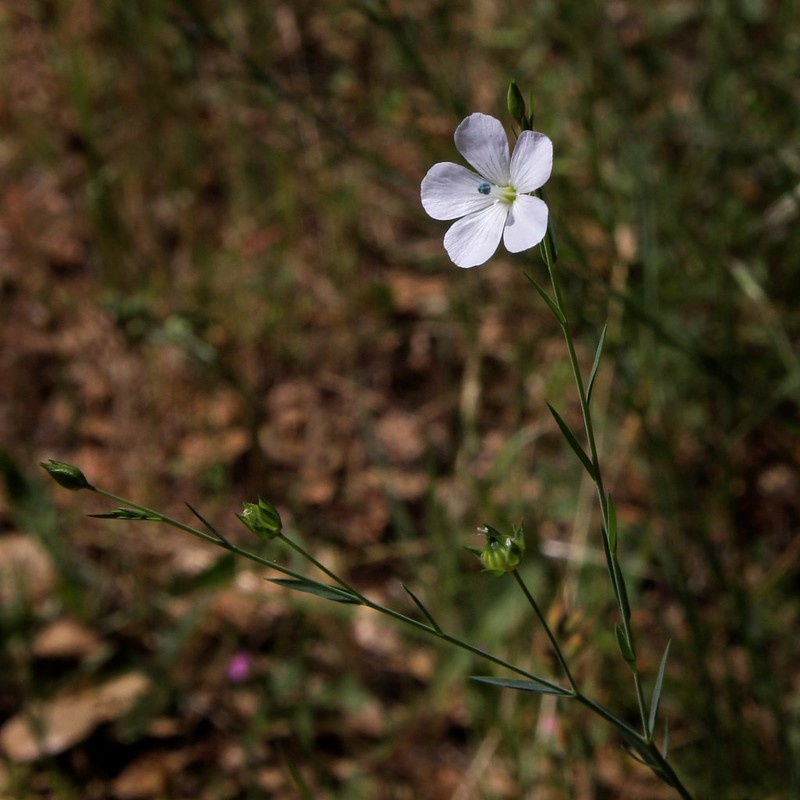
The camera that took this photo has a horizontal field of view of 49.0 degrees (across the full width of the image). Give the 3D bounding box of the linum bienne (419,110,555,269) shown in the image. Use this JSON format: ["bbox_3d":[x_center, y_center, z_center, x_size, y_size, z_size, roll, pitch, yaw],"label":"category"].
[{"bbox_3d":[0.222,-0.418,1.966,0.316,0.332,0.166,33,18,29],"label":"linum bienne"}]
